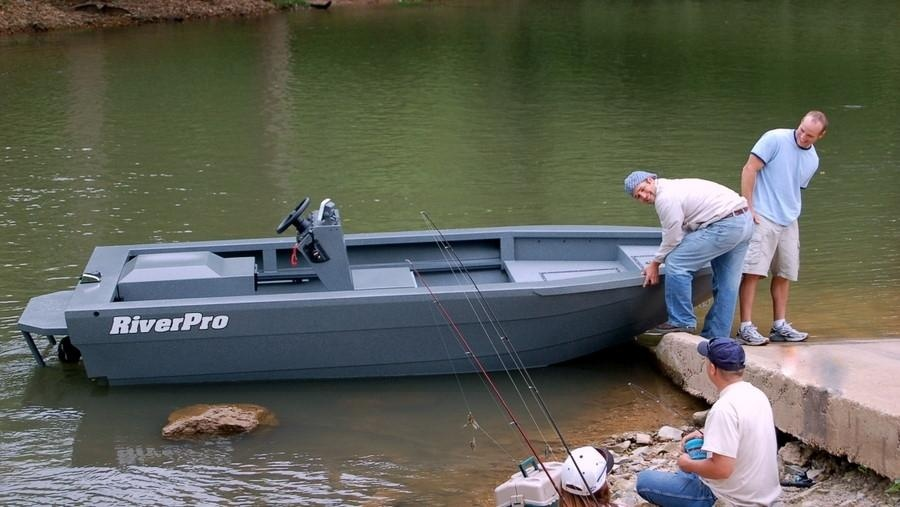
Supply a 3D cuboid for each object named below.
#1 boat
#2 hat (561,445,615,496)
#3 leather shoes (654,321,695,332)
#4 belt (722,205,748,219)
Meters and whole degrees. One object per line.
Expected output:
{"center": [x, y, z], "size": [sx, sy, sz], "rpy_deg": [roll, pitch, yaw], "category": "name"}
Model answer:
{"center": [0.272, 0.909, 18.951], "size": [15.523, 3.419, 3.015], "rpy_deg": [-2, 38, 0], "category": "boat"}
{"center": [1.781, 2.879, 15.407], "size": [0.720, 0.585, 0.454], "rpy_deg": [2, -1, 2], "category": "hat"}
{"center": [3.395, 1.126, 17.570], "size": [0.616, 0.131, 0.185], "rpy_deg": [3, 19, 10], "category": "leather shoes"}
{"center": [4.165, -0.640, 16.932], "size": [0.247, 0.057, 0.213], "rpy_deg": [-19, -5, -2], "category": "belt"}
